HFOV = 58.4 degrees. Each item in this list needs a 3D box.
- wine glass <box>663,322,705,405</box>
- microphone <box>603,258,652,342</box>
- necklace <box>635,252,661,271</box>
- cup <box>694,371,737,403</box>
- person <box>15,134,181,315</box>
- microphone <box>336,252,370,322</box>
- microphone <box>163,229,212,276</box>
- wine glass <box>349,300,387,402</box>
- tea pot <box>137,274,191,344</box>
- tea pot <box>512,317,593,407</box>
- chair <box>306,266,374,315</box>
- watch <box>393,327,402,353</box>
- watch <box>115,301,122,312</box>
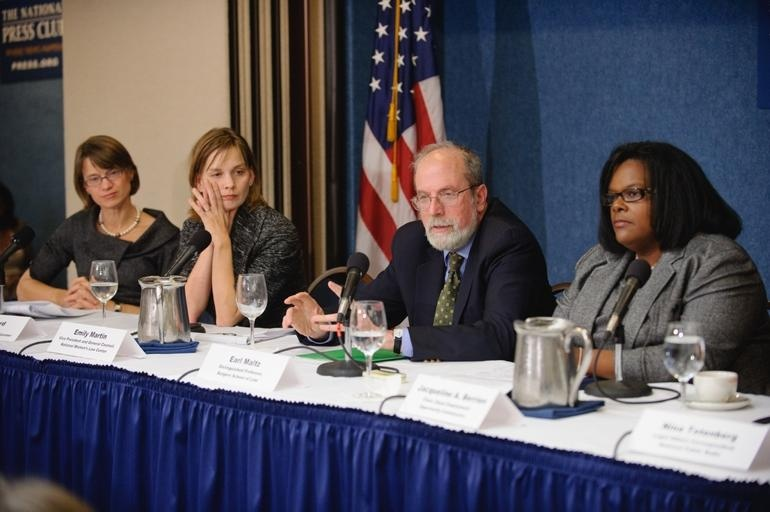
[{"bbox_3d":[0.933,0.327,2.151,0.106,0.264,0.217,2,11,25],"label":"wine glass"},{"bbox_3d":[0.919,0.177,2.600,0.082,0.341,0.081,29,-11,-15],"label":"microphone"},{"bbox_3d":[1.003,0.019,2.623,0.055,0.045,0.057,2,-17,1],"label":"necklace"},{"bbox_3d":[1.027,0.401,2.144,0.099,0.077,0.100,-2,0,0],"label":"cup"},{"bbox_3d":[-1.781,-0.136,4.403,1.086,1.251,0.716,0,9,2],"label":"person"},{"bbox_3d":[-0.135,0.103,2.595,0.075,0.084,0.316,0,49,25],"label":"microphone"},{"bbox_3d":[-0.825,-0.019,2.895,0.127,0.163,0.276,-2,10,7],"label":"microphone"},{"bbox_3d":[-0.053,0.318,2.352,0.114,0.322,0.122,-6,9,-40],"label":"wine glass"},{"bbox_3d":[-0.915,0.251,2.820,0.183,0.311,0.287,0,12,-5],"label":"tea pot"},{"bbox_3d":[0.516,0.332,2.145,0.261,0.286,0.223,8,14,43],"label":"tea pot"},{"bbox_3d":[-0.324,0.177,3.799,0.209,0.238,0.294,0,-23,9],"label":"chair"},{"bbox_3d":[0.050,0.333,2.731,0.034,0.078,0.055,6,4,25],"label":"watch"},{"bbox_3d":[-1.549,0.291,3.997,0.039,0.048,0.053,11,35,-8],"label":"watch"}]
